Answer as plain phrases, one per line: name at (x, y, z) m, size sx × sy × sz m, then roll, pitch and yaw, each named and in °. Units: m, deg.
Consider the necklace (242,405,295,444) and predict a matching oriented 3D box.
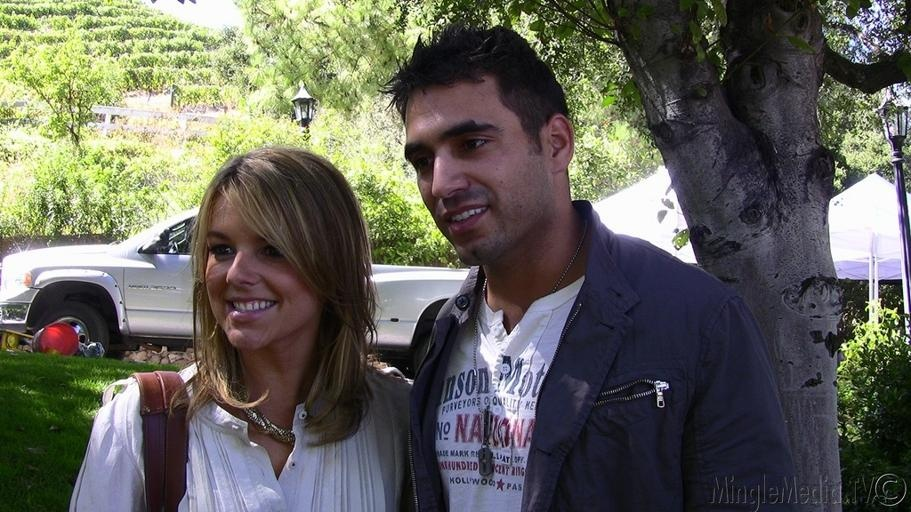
necklace at (-1.174, 1.071, 4.491) m, size 0.284 × 0.068 × 0.212 m, roll 26°, pitch 5°, yaw -36°
